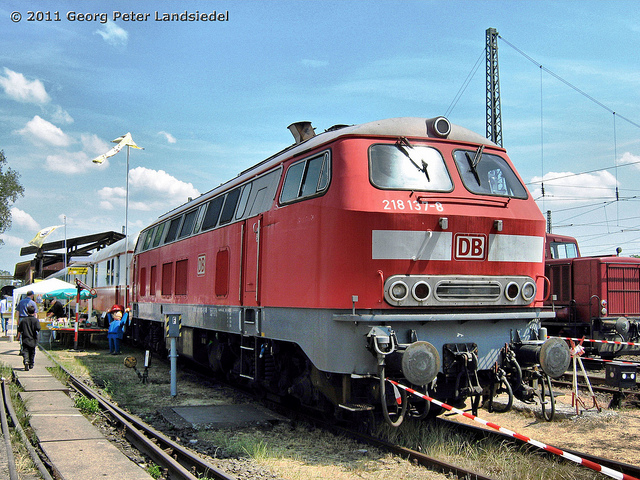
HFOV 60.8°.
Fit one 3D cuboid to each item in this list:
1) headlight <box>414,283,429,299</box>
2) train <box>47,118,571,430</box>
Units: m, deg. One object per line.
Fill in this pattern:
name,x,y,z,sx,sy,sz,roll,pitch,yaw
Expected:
headlight,1.438,0.727,7.728,0.211,0.220,0.050,4,-4,-20
train,-1.416,0.949,15.170,4.108,5.547,17.447,2,-3,-26
